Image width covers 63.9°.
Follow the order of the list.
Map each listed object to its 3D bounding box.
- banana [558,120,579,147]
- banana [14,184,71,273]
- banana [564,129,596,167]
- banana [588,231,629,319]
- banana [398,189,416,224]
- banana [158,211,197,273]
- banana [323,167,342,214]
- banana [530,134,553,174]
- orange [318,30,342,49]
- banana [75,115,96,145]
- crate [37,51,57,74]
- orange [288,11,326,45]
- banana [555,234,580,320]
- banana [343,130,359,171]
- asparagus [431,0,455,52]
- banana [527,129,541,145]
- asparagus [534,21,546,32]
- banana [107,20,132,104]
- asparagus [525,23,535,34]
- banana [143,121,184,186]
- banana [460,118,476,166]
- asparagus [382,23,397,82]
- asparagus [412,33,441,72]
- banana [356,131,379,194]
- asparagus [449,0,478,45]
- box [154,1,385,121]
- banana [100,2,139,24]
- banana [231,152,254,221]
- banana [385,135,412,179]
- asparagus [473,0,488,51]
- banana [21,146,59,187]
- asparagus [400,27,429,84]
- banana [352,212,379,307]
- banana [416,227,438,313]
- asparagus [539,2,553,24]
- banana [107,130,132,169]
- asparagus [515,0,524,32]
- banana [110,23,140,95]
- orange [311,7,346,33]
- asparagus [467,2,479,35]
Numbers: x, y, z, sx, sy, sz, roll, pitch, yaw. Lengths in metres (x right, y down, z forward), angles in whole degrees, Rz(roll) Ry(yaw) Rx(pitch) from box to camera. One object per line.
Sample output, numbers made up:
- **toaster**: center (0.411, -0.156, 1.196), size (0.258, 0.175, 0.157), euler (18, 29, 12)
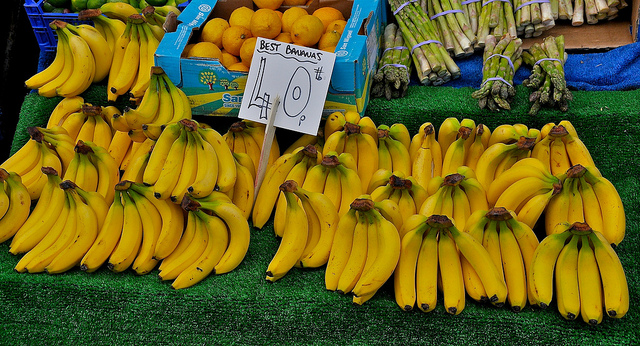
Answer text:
- **banana**: center (1.676, -0.264, 3.431), size (0.101, 0.186, 0.063), euler (-12, 24, 26)
- **banana**: center (-1.786, 0.375, 3.287), size (0.191, 0.553, 0.099), euler (20, -21, 40)
- **banana**: center (1.716, -0.160, 3.369), size (0.068, 0.244, 0.083), euler (-28, -8, -27)
- **banana**: center (1.658, 0.577, 2.922), size (0.161, 0.492, 0.234), euler (-17, 25, -32)
- **banana**: center (0.539, 0.204, 3.227), size (0.068, 0.223, 0.080), euler (-7, -7, -24)
- **banana**: center (-0.892, 0.436, 3.181), size (0.134, 0.082, 0.400), euler (9, 61, 53)
- **banana**: center (0.092, 0.103, 3.265), size (0.082, 0.299, 0.110), euler (1, 14, 18)
- **banana**: center (1.532, -0.163, 3.457), size (0.122, 0.180, 0.503), euler (6, 12, 19)
- **orange**: center (0.084, -0.931, 3.623), size (0.151, 0.116, 0.112), euler (-26, 23, 16)
- **banana**: center (-1.661, -0.305, 3.620), size (0.059, 0.209, 0.075), euler (25, -8, 0)
- **crate**: center (-2.189, -0.894, 4.167), size (0.211, 0.203, 0.056), euler (3, -13, 11)
- **orange**: center (-0.096, -1.016, 3.604), size (0.192, 0.193, 0.262), euler (15, 14, 42)
- **banana**: center (1.430, 0.591, 2.973), size (0.125, 0.464, 0.159), euler (3, 3, 34)
- **banana**: center (0.206, -0.147, 3.374), size (0.071, 0.249, 0.090), euler (2, 19, 8)
- **asparagus**: center (0.974, -1.136, 4.061), size (0.079, 0.474, 0.097), euler (-23, -17, 10)
- **banana**: center (1.439, -0.247, 3.438), size (0.088, 0.108, 0.061), euler (11, -15, -20)
- **asparagus**: center (1.723, -1.130, 3.983), size (0.071, 0.052, 0.067), euler (5, 2, 13)
- **banana**: center (-1.493, -0.799, 3.803), size (0.129, 0.609, 0.211), euler (9, 3, -20)
- **asparagus**: center (1.647, -1.121, 4.002), size (0.058, 0.062, 0.057), euler (-2, 15, 5)
- **banana**: center (-0.972, -0.111, 3.181), size (0.101, 0.407, 0.135), euler (10, -22, 47)
- **banana**: center (0.978, -0.198, 3.438), size (0.077, 0.275, 0.093), euler (9, 7, -9)
- **asparagus**: center (0.528, -0.920, 3.845), size (0.116, 0.096, 0.499), euler (1, 52, 7)
- **asparagus**: center (0.820, -0.890, 3.888), size (0.095, 0.395, 0.079), euler (-27, -27, 8)
- **banana**: center (0.340, -0.069, 3.462), size (0.124, 0.410, 0.141), euler (1, 12, 19)
- **asparagus**: center (1.128, -1.174, 4.055), size (0.099, 0.504, 0.077), euler (-30, -15, 33)
- **box**: center (-0.350, -0.836, 3.771), size (1.554, 0.827, 0.746), euler (1, 21, 8)
- **banana**: center (-1.543, -1.244, 4.007), size (0.428, 0.146, 0.113), euler (5, 7, 5)
- **banana**: center (-0.500, 0.092, 3.357), size (0.119, 0.417, 0.159), euler (-8, 7, -14)
- **banana**: center (0.537, -0.103, 3.486), size (0.101, 0.370, 0.131), euler (-11, 19, 35)
- **asparagus**: center (1.275, -1.151, 4.050), size (0.092, 0.430, 0.076), euler (11, -15, 6)
- **banana**: center (-1.913, -0.031, 3.489), size (0.101, 0.275, 0.049), euler (26, -13, 4)
- **asparagus**: center (0.692, -0.886, 3.885), size (0.074, 0.453, 0.093), euler (-35, -19, 27)
- **banana**: center (0.273, 0.514, 3.015), size (0.114, 0.531, 0.178), euler (17, -13, -27)
- **banana**: center (0.629, 0.571, 3.018), size (0.122, 0.494, 0.164), euler (5, 5, 21)
- **asparagus**: center (1.749, -1.224, 3.943), size (0.081, 0.155, 0.087), euler (-4, 21, -4)
- **banana**: center (-1.455, -0.168, 3.676), size (0.112, 0.130, 0.419), euler (-5, 22, -6)
- **asparagus**: center (1.567, -1.218, 3.992), size (0.070, 0.235, 0.064), euler (4, -11, 13)
- **banana**: center (-1.407, -0.771, 3.816), size (0.144, 0.622, 0.225), euler (11, 4, 11)
- **orange**: center (0.059, -1.088, 3.673), size (0.161, 0.160, 0.195), euler (22, 52, 22)
- **asparagus**: center (1.217, -1.233, 4.101), size (0.057, 0.295, 0.055), euler (-14, -17, 30)
